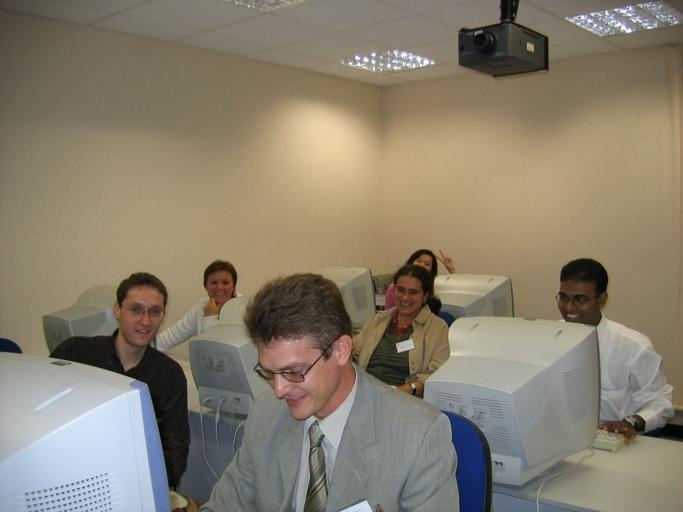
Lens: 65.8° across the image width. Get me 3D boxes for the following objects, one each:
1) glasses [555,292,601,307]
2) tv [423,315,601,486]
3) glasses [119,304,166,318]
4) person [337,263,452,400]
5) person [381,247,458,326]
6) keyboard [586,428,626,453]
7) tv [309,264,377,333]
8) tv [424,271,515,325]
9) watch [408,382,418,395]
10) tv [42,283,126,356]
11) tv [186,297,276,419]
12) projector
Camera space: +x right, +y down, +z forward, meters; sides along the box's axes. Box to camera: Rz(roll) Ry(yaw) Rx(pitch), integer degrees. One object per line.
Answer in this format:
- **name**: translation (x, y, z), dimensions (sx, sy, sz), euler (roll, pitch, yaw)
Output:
- **glasses**: translation (1.206, 0.215, 2.688), dimensions (0.190, 0.059, 0.114), euler (3, 3, 26)
- **tv**: translation (0.663, 0.554, 2.075), dimensions (0.605, 0.579, 0.510), euler (-1, 5, 38)
- **glasses**: translation (-0.880, 0.243, 2.382), dimensions (0.183, 0.062, 0.087), euler (0, 4, -34)
- **person**: translation (0.325, 0.485, 3.323), dimensions (0.782, 0.864, 0.481), euler (3, -10, 28)
- **person**: translation (0.617, 0.224, 4.018), dimensions (0.455, 0.978, 0.306), euler (-4, -14, 4)
- **keyboard**: translation (1.149, 0.796, 2.304), dimensions (0.145, 0.063, 0.165), euler (-4, 0, 33)
- **tv**: translation (-0.057, 0.377, 4.270), dimensions (0.530, 0.553, 0.333), euler (5, 9, 18)
- **tv**: translation (0.862, 0.145, 3.537), dimensions (0.485, 0.375, 0.269), euler (2, 10, 44)
- **watch**: translation (0.409, 0.751, 3.011), dimensions (0.023, 0.058, 0.041), euler (-3, 13, -6)
- **tv**: translation (-1.567, 0.345, 3.265), dimensions (0.415, 0.457, 0.422), euler (-9, 19, -35)
- **tv**: translation (-0.535, 0.499, 2.699), dimensions (0.404, 0.541, 0.408), euler (-1, 4, 11)
- **projector**: translation (1.121, -1.381, 3.508), dimensions (0.646, 0.237, 0.297), euler (1, 3, -20)
